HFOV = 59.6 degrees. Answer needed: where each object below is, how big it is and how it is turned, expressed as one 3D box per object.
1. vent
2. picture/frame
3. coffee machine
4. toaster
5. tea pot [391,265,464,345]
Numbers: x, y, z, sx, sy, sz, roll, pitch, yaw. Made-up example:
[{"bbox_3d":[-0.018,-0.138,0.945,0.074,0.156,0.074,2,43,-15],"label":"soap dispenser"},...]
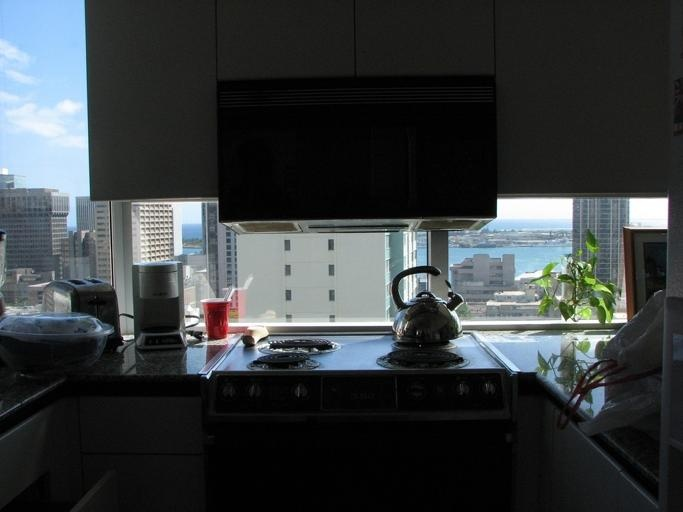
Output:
[{"bbox_3d":[0.066,-0.463,2.586,1.212,0.650,0.089,-3,3,1],"label":"vent"},{"bbox_3d":[1.469,0.029,2.893,0.251,0.547,0.108,5,6,18],"label":"picture/frame"},{"bbox_3d":[-0.858,0.222,2.826,0.242,0.394,0.278,-4,4,-20],"label":"coffee machine"},{"bbox_3d":[-1.191,0.169,2.798,0.279,0.455,0.490,2,3,-38],"label":"toaster"},{"bbox_3d":[0.365,0.209,2.722,0.277,0.345,0.343,0,-1,-1],"label":"tea pot"}]
